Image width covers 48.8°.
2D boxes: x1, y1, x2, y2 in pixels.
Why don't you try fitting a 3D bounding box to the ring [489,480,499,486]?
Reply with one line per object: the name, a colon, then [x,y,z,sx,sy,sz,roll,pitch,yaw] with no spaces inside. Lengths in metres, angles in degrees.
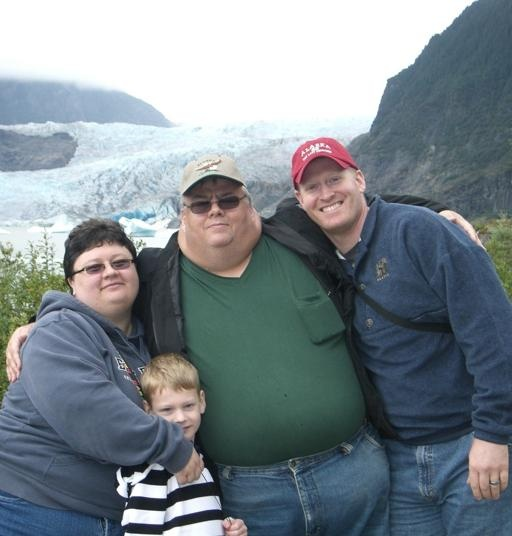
ring: [1.064,0.960,2.516,0.026,0.012,0.033,-1,-8,-10]
